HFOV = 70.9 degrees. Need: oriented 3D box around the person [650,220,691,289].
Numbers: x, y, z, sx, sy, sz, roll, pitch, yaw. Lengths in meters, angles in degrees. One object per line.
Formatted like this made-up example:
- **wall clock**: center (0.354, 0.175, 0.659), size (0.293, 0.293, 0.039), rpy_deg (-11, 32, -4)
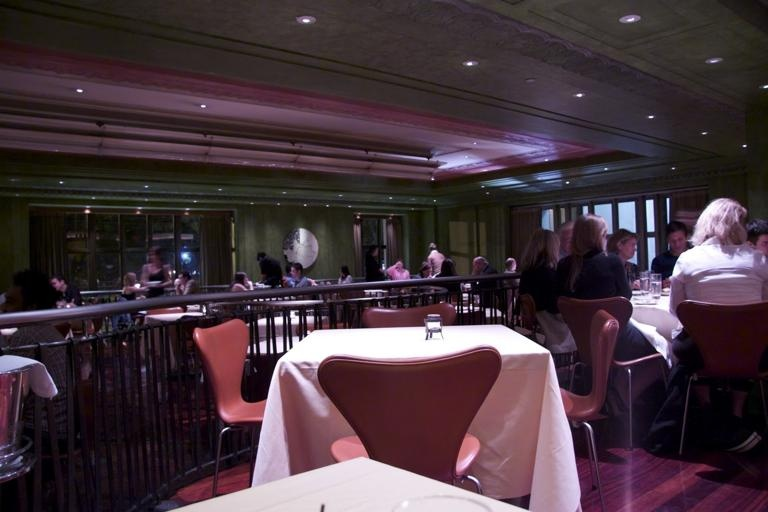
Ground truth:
- **person**: center (3.221, 0.069, 5.990), size (0.517, 0.822, 0.503), rpy_deg (-3, 6, 26)
